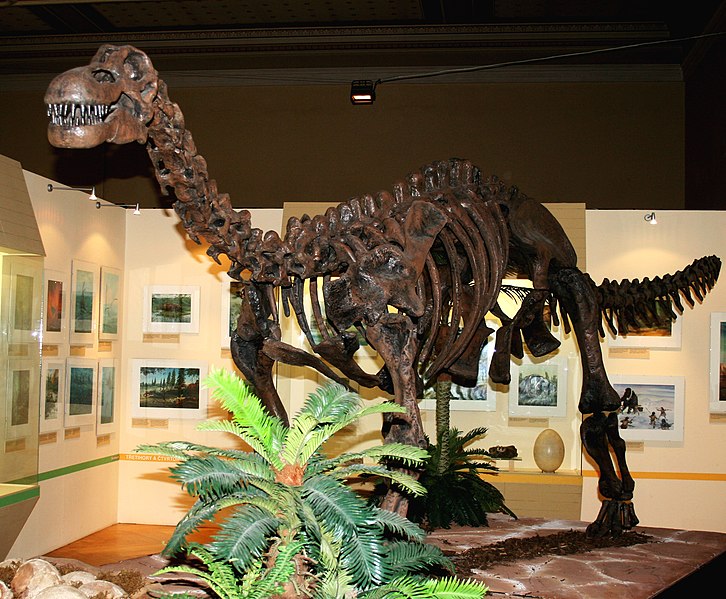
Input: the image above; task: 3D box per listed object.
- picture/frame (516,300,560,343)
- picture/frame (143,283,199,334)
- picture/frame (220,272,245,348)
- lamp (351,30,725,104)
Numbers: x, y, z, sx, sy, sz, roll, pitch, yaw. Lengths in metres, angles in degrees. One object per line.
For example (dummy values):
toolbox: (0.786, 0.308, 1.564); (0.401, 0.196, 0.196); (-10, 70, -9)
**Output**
picture/frame: (1.443, 0.183, 4.949); (0.305, 0.373, 0.303); (-5, 22, 0)
picture/frame: (-1.914, 0.114, 6.028); (0.512, 0.429, 0.022); (-1, -1, 6)
picture/frame: (-1.312, 0.120, 5.945); (0.179, 0.742, 0.269); (5, -10, -23)
lamp: (2.109, -2.656, 6.796); (3.768, 0.375, 0.396); (-7, -10, 5)
